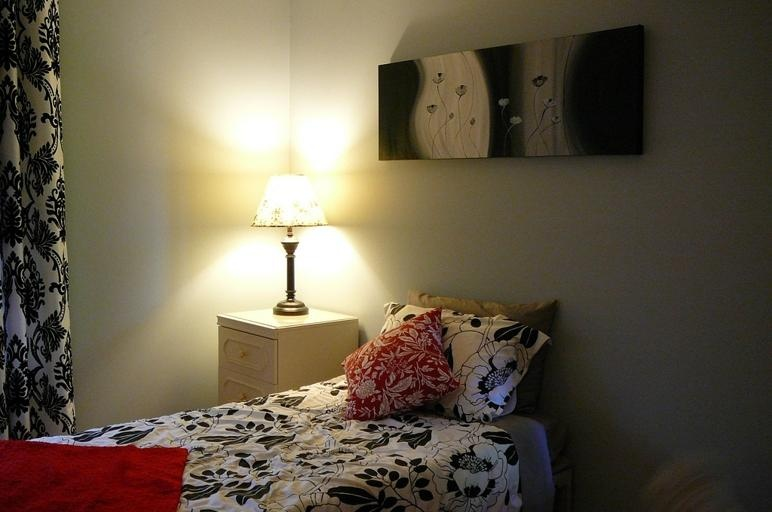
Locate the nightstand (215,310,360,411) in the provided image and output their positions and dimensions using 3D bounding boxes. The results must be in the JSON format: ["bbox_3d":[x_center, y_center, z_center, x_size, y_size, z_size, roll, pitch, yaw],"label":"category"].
[{"bbox_3d":[-0.684,0.630,3.946,0.673,0.966,0.643,1,1,-32],"label":"nightstand"}]

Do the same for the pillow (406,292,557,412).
[{"bbox_3d":[0.756,0.584,3.375,0.608,0.615,0.190,10,-10,30],"label":"pillow"}]

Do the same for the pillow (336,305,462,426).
[{"bbox_3d":[0.094,0.500,3.131,0.667,0.193,0.716,-19,26,-1],"label":"pillow"}]
